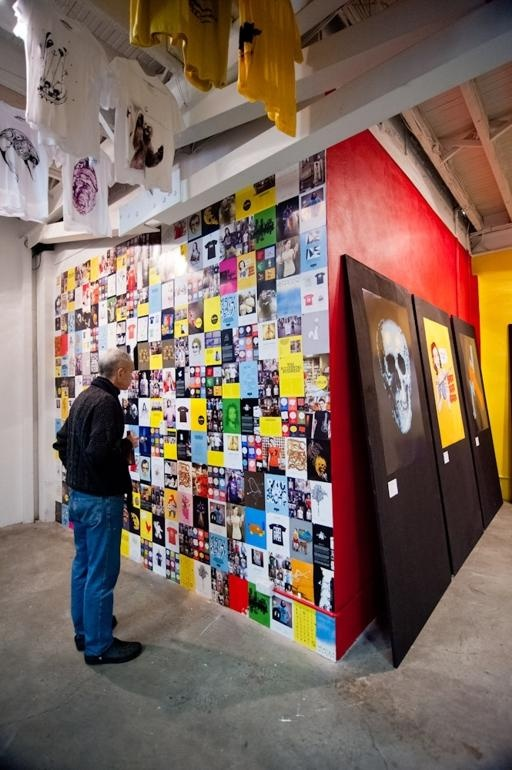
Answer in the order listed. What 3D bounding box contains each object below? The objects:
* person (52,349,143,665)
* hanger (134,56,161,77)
[{"bbox_3d":[-0.759,0.582,2.349,0.375,1.516,0.340,-1,0,-19],"label":"person"},{"bbox_3d":[-0.670,-2.009,3.023,0.098,0.052,0.179,0,2,31],"label":"hanger"}]
